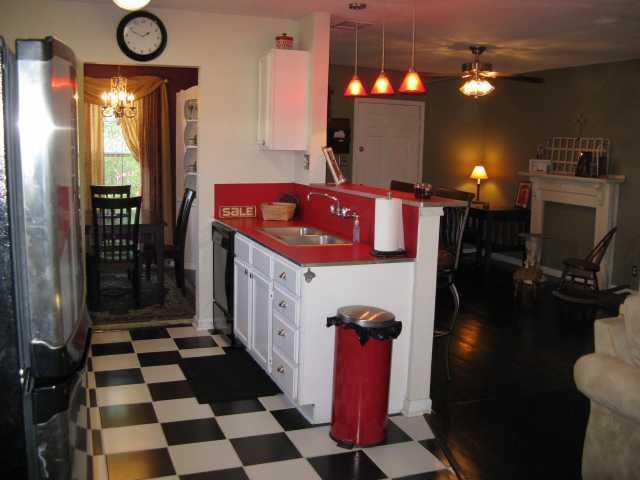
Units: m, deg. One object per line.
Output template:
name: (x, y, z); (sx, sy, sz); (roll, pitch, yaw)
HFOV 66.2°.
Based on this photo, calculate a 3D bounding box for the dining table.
dining table: (-2.271, 0.211, 5.702); (0.813, 1.368, 0.955); (-3, 23, -17)

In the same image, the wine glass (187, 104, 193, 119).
wine glass: (-1.874, -1.869, 7.163); (0.078, 0.170, 0.032); (7, 13, 28)

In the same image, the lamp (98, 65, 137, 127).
lamp: (-2.866, -2.089, 7.011); (0.494, 0.835, 1.135); (-3, 12, -23)

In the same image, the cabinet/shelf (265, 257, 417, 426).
cabinet/shelf: (0.035, 0.587, 4.194); (1.020, 1.618, 1.129); (0, 8, -13)

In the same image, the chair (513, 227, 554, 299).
chair: (3.175, 0.337, 7.289); (0.452, 0.792, 0.841); (3, 10, 17)

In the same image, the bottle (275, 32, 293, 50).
bottle: (-0.344, -1.928, 4.808); (0.172, 0.169, 0.168); (-9, 21, -34)

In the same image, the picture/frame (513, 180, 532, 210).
picture/frame: (3.341, -0.762, 8.121); (0.042, 0.607, 0.427); (1, 7, -18)

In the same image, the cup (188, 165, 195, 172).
cup: (-1.887, -1.072, 7.290); (0.143, 0.110, 0.050); (12, 15, 41)

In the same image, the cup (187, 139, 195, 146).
cup: (-1.853, -1.431, 7.156); (0.092, 0.098, 0.223); (-3, 12, -20)

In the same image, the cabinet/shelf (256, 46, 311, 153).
cabinet/shelf: (-0.381, -1.381, 4.836); (0.559, 0.945, 0.333); (3, 11, 9)

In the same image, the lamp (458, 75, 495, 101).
lamp: (1.659, -1.654, 5.244); (0.253, 0.228, 0.438); (10, 14, 35)

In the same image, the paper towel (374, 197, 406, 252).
paper towel: (0.517, -0.115, 3.613); (0.266, 0.399, 0.170); (-1, 11, -13)

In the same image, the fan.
fan: (2.141, -2.313, 6.393); (1.172, 0.492, 1.189); (-12, 25, -28)

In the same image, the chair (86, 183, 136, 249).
chair: (-2.743, -0.356, 6.401); (0.678, 0.534, 0.688); (8, 9, 39)

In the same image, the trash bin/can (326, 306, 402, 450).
trash bin/can: (0.279, 0.901, 3.266); (0.478, 0.870, 0.301); (1, 11, 0)
